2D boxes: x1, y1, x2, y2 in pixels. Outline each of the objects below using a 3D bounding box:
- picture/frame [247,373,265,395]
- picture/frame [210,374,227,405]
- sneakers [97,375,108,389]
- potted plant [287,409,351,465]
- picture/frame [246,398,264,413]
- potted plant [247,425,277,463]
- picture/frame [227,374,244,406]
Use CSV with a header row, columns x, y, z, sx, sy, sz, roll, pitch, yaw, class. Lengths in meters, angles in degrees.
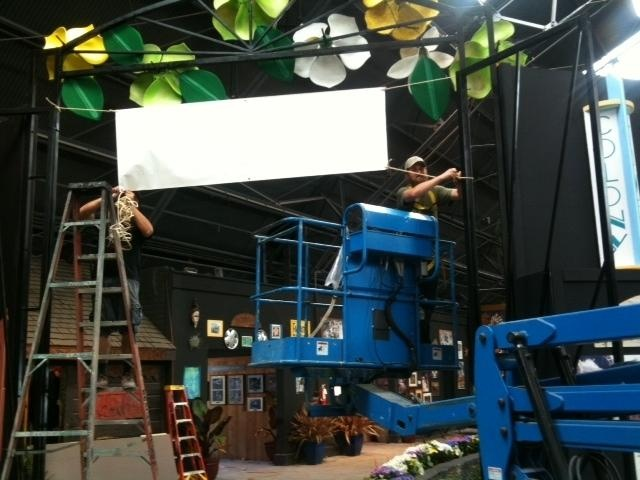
x,y,z,sx,sy,sz,roll,pitch,yaw,class
-1.412,3.215,14.617,0.456,0.458,0.064,-8,-11,44,picture/frame
-2.388,3.553,15.565,0.073,0.804,0.656,6,-11,-42,picture/frame
-2.262,1.482,6.859,0.160,0.074,0.216,4,-1,-10,sneakers
-0.068,4.092,13.767,0.560,1.085,1.191,-12,-15,38,potted plant
-1.423,3.663,14.596,0.336,0.254,0.177,-8,-14,39,picture/frame
-1.156,4.381,14.257,0.697,1.027,0.744,6,-12,-19,potted plant
-1.921,3.454,15.071,0.035,0.752,0.579,7,-16,-37,picture/frame
